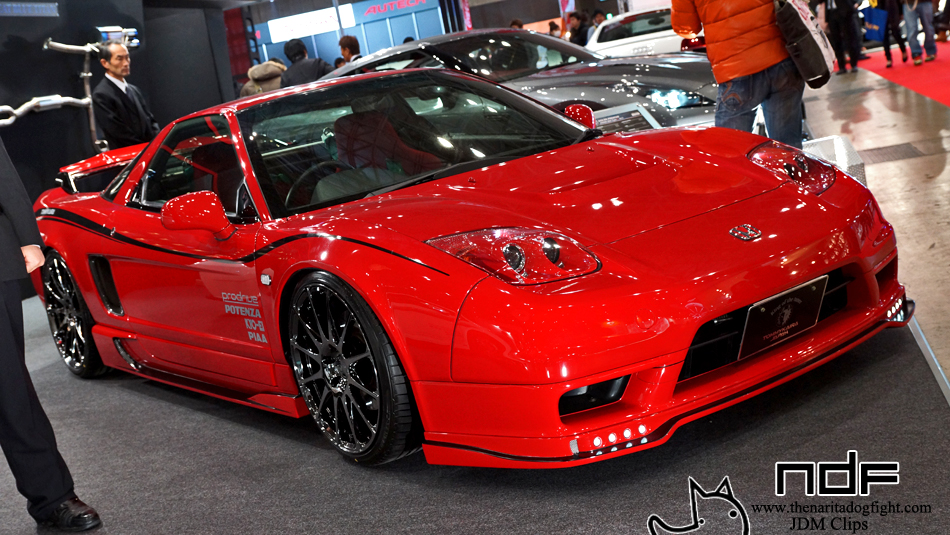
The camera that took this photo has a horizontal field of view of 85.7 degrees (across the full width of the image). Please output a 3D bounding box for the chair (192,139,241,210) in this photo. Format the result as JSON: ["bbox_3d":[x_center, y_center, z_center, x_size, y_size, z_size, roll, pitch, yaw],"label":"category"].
[{"bbox_3d":[-1.615,-0.627,3.395,0.369,0.487,0.166,12,15,30],"label":"chair"}]

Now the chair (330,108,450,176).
[{"bbox_3d":[-0.477,-0.759,3.345,0.709,0.474,0.467,2,8,24],"label":"chair"}]

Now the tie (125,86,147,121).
[{"bbox_3d":[-5.070,-2.458,7.597,0.124,0.448,0.273,-23,7,26],"label":"tie"}]

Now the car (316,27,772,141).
[{"bbox_3d":[0.946,-2.592,6.932,5.565,1.333,2.235,3,20,19],"label":"car"}]
